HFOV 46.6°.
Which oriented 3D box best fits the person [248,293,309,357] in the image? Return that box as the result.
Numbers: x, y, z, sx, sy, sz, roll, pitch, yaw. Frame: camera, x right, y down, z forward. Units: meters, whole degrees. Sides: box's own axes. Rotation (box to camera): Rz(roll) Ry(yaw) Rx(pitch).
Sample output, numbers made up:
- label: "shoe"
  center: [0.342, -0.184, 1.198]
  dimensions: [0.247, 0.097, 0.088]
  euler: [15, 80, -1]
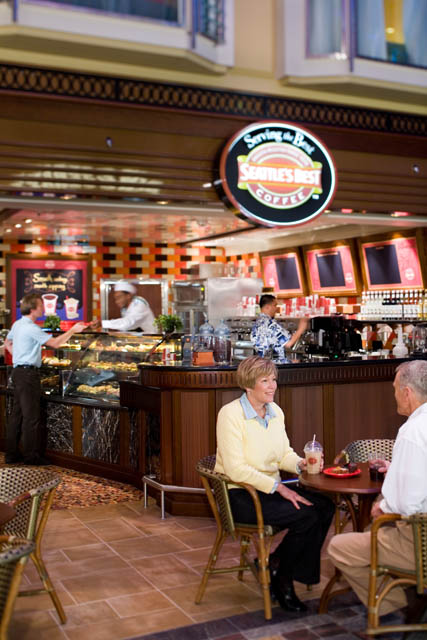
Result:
- label: "person"
  center: [0.598, 0.227, 4.701]
  dimensions: [0.468, 0.904, 0.449]
  euler: [-1, 6, 4]

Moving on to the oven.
- label: "oven"
  center: [-0.093, -0.096, 9.355]
  dimensions: [0.919, 1.239, 1.280]
  euler: [3, 0, -30]

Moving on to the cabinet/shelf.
- label: "cabinet/shelf"
  center: [-1.096, 0.486, 5.087]
  dimensions: [1.993, 0.711, 0.329]
  euler: [-5, -7, 37]

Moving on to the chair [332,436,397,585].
- label: "chair"
  center: [0.662, 0.884, 2.516]
  dimensions: [0.473, 0.628, 0.468]
  euler: [-2, -8, 18]

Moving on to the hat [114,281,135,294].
- label: "hat"
  center: [-1.079, -0.387, 6.122]
  dimensions: [0.279, 0.174, 0.328]
  euler: [3, -2, -4]

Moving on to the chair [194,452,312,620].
- label: "chair"
  center: [0.236, 0.926, 2.557]
  dimensions: [0.575, 0.896, 0.799]
  euler: [-3, -4, 14]

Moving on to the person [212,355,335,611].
- label: "person"
  center: [0.306, 0.755, 2.354]
  dimensions: [0.579, 1.101, 0.460]
  euler: [0, 0, 43]

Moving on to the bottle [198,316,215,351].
- label: "bottle"
  center: [-0.058, 0.143, 4.332]
  dimensions: [0.126, 0.242, 0.360]
  euler: [-1, -6, 0]

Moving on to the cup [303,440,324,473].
- label: "cup"
  center: [0.453, 0.611, 2.249]
  dimensions: [0.075, 0.138, 0.217]
  euler: [-2, -6, 10]

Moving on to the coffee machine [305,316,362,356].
- label: "coffee machine"
  center: [1.250, 0.175, 5.162]
  dimensions: [0.461, 0.395, 0.452]
  euler: [-1, 0, -3]

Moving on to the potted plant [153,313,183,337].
- label: "potted plant"
  center: [-0.524, 0.044, 5.722]
  dimensions: [0.264, 0.258, 0.274]
  euler: [-3, 6, -34]
